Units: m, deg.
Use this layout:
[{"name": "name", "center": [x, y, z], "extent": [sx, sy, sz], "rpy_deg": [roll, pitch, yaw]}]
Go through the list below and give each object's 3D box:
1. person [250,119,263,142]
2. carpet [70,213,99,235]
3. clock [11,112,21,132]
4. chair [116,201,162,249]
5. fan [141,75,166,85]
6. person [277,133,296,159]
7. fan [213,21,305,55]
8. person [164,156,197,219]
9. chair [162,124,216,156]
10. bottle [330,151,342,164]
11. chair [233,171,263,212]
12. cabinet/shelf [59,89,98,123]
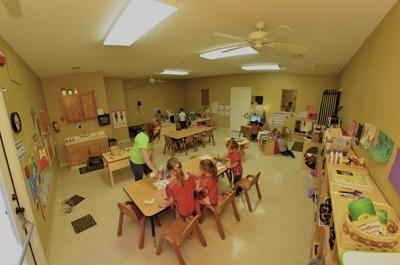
[{"name": "person", "center": [2.349, -0.052, 10.253], "extent": [0.638, 0.885, 0.648], "rpy_deg": [6, 28, 21]}, {"name": "carpet", "center": [-2.575, 2.054, 5.765], "extent": [0.418, 0.034, 0.384], "rpy_deg": [-19, 32, -34]}, {"name": "clock", "center": [-3.418, -0.185, 4.819], "extent": [0.104, 0.394, 0.451], "rpy_deg": [-6, 10, -25]}, {"name": "chair", "center": [-1.243, 1.915, 5.323], "extent": [0.563, 0.808, 0.547], "rpy_deg": [22, 36, 31]}, {"name": "fan", "center": [-2.092, -2.334, 11.810], "extent": [0.751, 0.317, 0.820], "rpy_deg": [-11, 12, -38]}, {"name": "person", "center": [2.821, 0.399, 8.550], "extent": [0.605, 0.802, 0.401], "rpy_deg": [2, 10, 18]}, {"name": "fan", "center": [1.170, -1.707, 4.785], "extent": [0.811, 0.235, 0.836], "rpy_deg": [17, 9, 28]}, {"name": "person", "center": [-0.372, 1.141, 5.138], "extent": [0.601, 1.263, 0.367], "rpy_deg": [-2, 10, -2]}, {"name": "chair", "center": [-0.421, 0.251, 9.615], "extent": [1.127, 0.814, 2.105], "rpy_deg": [7, 12, 40]}, {"name": "bottle", "center": [2.499, 0.447, 4.784], "extent": [0.205, 0.207, 0.051], "rpy_deg": [1, -4, 40]}, {"name": "chair", "center": [1.135, 1.445, 6.230], "extent": [0.515, 0.777, 0.544], "rpy_deg": [20, 32, 39]}, {"name": "cabinet/shelf", "center": [-3.857, -0.849, 8.106], "extent": [0.924, 0.888, 0.317], "rpy_deg": [-10, 14, -43]}]
